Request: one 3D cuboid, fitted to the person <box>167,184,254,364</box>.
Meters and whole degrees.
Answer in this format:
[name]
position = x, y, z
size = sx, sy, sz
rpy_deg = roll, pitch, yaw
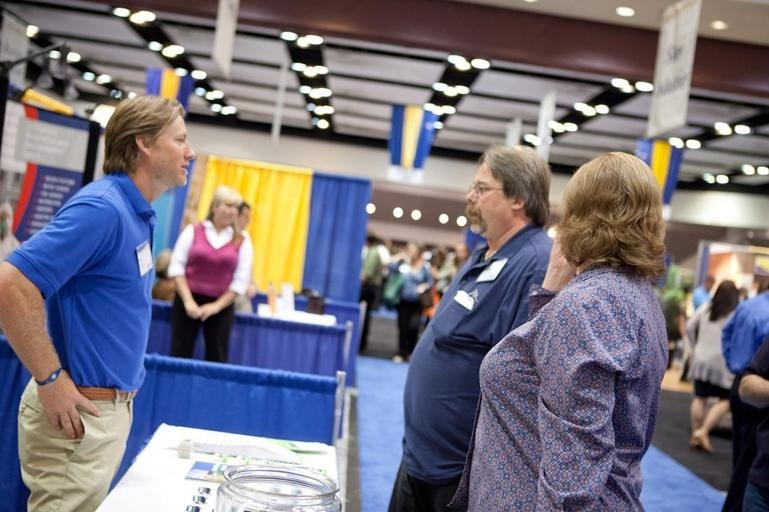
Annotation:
[person]
position = -1.540, 0.388, 6.656
size = 0.620, 1.965, 0.617
rpy_deg = 8, 4, -14
